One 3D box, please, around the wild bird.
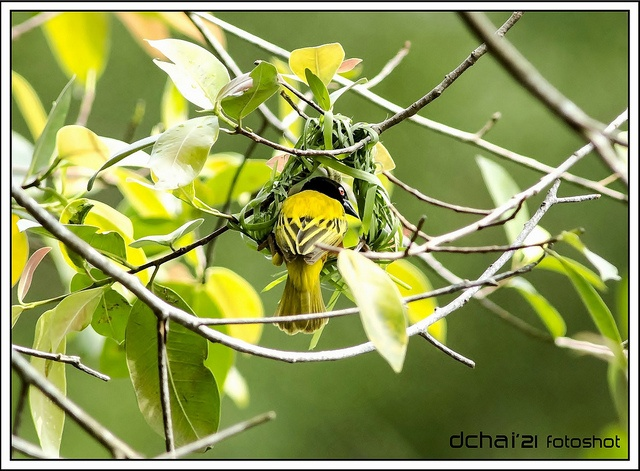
[{"bbox_3d":[0.011,0.069,1.954,0.298,0.415,0.279,7,-17,14],"label":"wild bird"}]
